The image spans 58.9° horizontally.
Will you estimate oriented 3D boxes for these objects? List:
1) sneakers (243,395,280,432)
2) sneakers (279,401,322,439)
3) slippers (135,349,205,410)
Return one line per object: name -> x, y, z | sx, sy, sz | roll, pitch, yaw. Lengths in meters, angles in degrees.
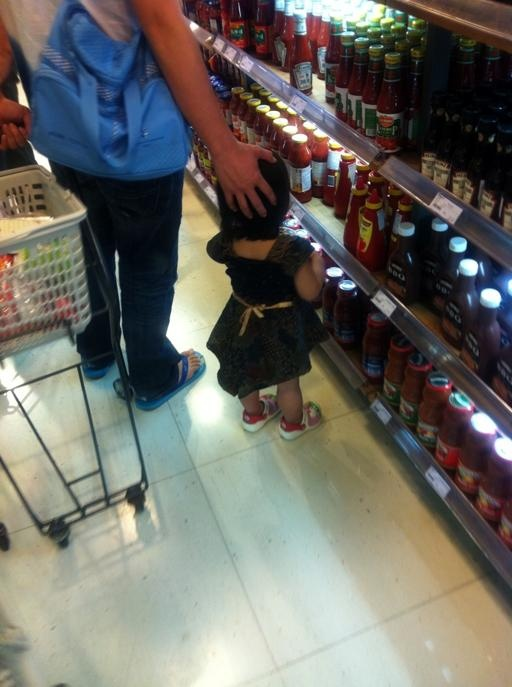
sneakers -> 0.023, 0.285, 1.807 | 0.084, 0.071, 0.171 | 22, 56, 26
sneakers -> 0.179, 0.308, 1.791 | 0.093, 0.079, 0.182 | 23, 51, 34
slippers -> -0.356, 0.161, 1.994 | 0.152, 0.085, 0.358 | 40, 66, 14
